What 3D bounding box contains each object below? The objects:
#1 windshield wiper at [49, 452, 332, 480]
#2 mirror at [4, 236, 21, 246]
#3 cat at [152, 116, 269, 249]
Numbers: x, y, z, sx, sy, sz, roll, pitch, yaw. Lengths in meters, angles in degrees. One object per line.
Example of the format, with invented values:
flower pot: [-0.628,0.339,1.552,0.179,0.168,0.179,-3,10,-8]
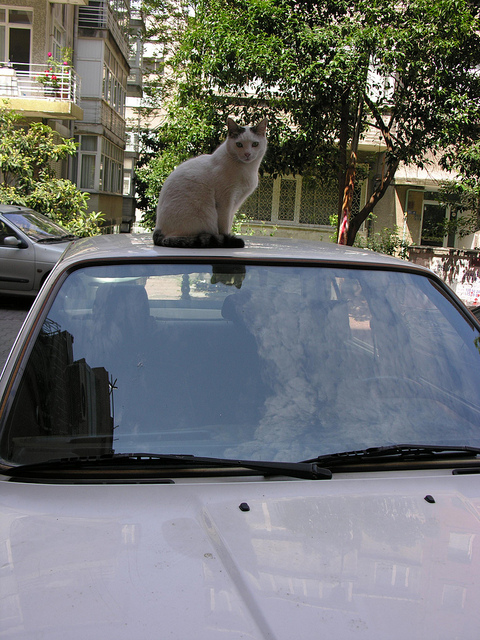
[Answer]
windshield wiper: [-0.148,0.378,1.507,0.791,0.061,0.081,0,0,-4]
mirror: [-3.710,-1.287,9.642,0.281,0.160,0.141,4,8,-8]
cat: [-0.187,-0.827,3.607,0.652,0.830,0.453,2,0,4]
